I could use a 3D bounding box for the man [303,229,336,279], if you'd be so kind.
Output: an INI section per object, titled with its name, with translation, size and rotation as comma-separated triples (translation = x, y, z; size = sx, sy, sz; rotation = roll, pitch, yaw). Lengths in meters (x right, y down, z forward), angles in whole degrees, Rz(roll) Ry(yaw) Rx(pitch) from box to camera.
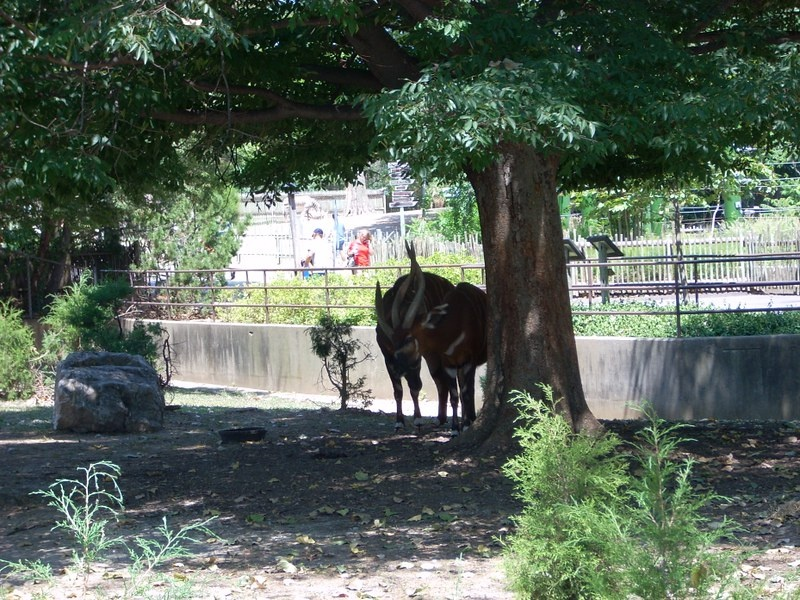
[man]
translation = -2.766, -1.592, 32.957
size = 0.821, 0.841, 2.475
rotation = -23, 10, 8

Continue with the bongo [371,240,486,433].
[bongo]
translation = 0.431, 0.492, 12.432
size = 1.443, 2.268, 1.416
rotation = -3, 1, -7
